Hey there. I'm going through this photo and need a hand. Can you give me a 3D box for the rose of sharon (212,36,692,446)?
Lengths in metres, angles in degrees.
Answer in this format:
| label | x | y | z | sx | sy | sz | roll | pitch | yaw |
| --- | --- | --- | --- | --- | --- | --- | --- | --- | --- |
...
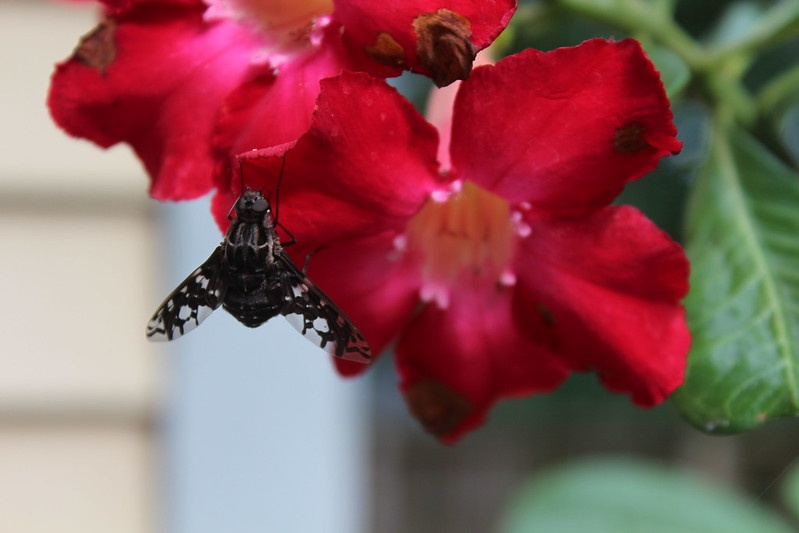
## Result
| label | x | y | z | sx | sy | sz | roll | pitch | yaw |
| --- | --- | --- | --- | --- | --- | --- | --- | --- | --- |
| rose of sharon | 0.060 | -0.030 | 0.905 | 0.365 | 0.341 | 0.123 | 4 | 24 | 12 |
